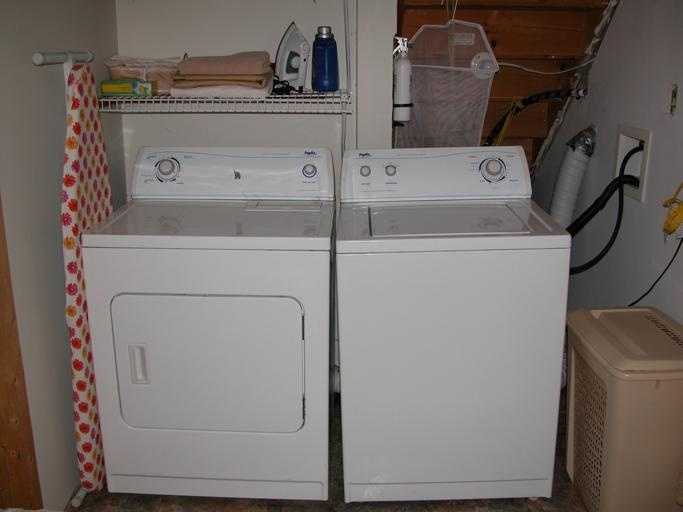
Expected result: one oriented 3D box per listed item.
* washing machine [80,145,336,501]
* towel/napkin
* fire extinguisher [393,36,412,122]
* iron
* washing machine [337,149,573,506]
[{"bbox_3d":[-0.492,0.235,2.420,0.917,1.235,0.756,2,21,2],"label":"washing machine"},{"bbox_3d":[-0.543,-0.861,2.650,0.376,0.227,0.427,0,20,-4],"label":"towel/napkin"},{"bbox_3d":[0.283,-0.825,2.735,0.093,0.402,0.138,-2,21,-9],"label":"fire extinguisher"},{"bbox_3d":[-0.242,-0.914,2.648,0.143,0.365,0.155,5,20,13],"label":"iron"},{"bbox_3d":[0.416,0.330,2.363,0.904,1.114,0.641,1,21,-1],"label":"washing machine"}]
